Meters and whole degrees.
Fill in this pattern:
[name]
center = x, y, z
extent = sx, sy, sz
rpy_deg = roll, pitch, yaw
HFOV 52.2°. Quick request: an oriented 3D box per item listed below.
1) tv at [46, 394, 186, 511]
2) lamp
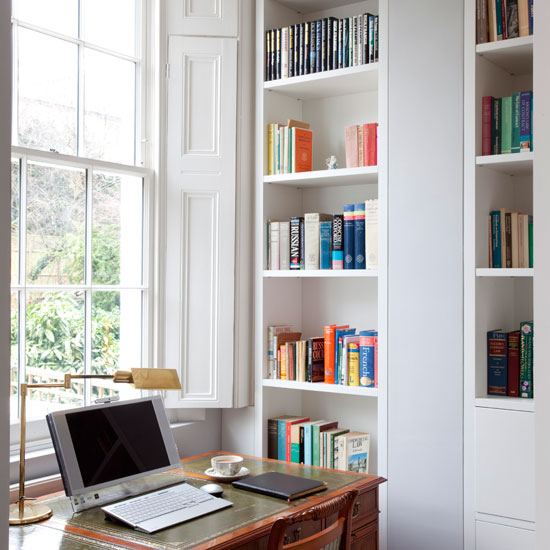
[tv]
center = -0.554, 0.615, 1.915
extent = 0.028, 0.314, 0.399
rpy_deg = -26, -13, 33
[lamp]
center = -0.579, 0.545, 1.963
extent = 0.731, 0.657, 0.330
rpy_deg = 0, -2, -8
